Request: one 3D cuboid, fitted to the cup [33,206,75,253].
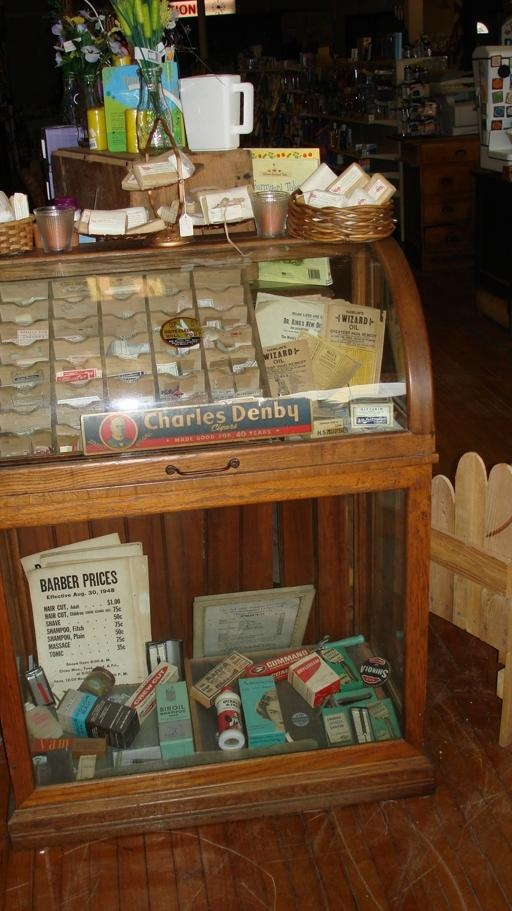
[{"bbox_3d":[-0.404,-0.450,1.244,0.069,0.084,0.078,16,40,12],"label":"cup"}]

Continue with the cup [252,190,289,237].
[{"bbox_3d":[0.029,-0.501,1.321,0.077,0.097,0.089,-1,38,1],"label":"cup"}]

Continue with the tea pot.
[{"bbox_3d":[-0.106,-0.907,1.679,0.193,0.194,0.194,-3,11,1],"label":"tea pot"}]
